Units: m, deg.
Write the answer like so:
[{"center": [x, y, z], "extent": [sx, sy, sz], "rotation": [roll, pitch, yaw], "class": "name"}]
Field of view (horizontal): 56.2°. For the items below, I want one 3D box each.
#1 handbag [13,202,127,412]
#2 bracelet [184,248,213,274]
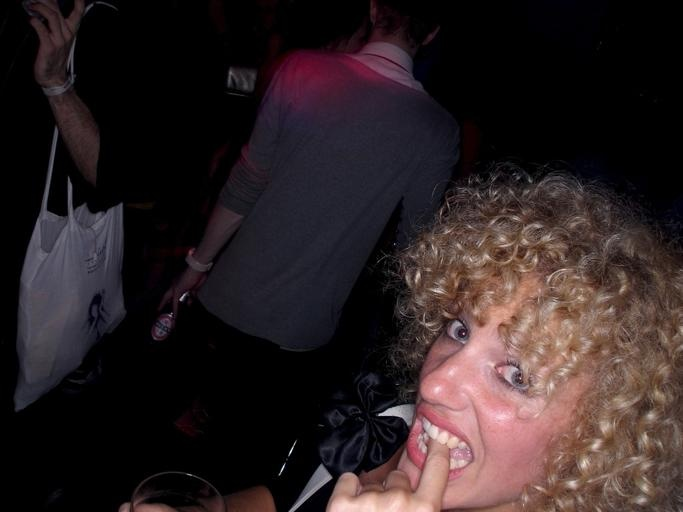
[{"center": [-1.319, 0.234, 3.045], "extent": [0.248, 0.992, 0.799], "rotation": [19, 28, 9], "class": "handbag"}, {"center": [-0.741, 0.034, 3.265], "extent": [0.109, 0.061, 0.127], "rotation": [2, 37, -23], "class": "bracelet"}]
